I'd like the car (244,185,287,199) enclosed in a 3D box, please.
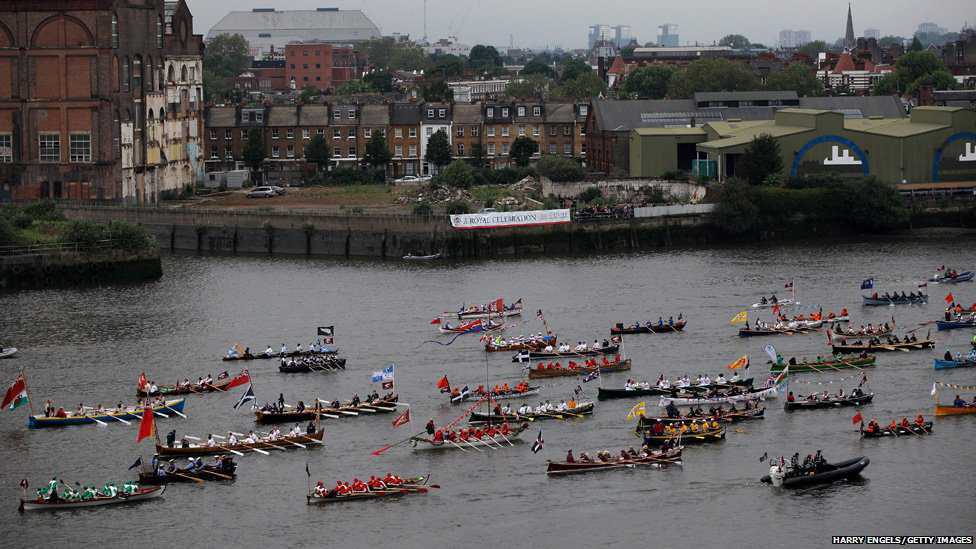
[{"bbox_3d":[-27.452,-10.028,266.786,2.892,1.225,4.953,2,8,33],"label":"car"}]

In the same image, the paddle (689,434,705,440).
[{"bbox_3d":[19.987,15.806,206.598,1.681,0.409,0.174,3,-3,-13],"label":"paddle"}]

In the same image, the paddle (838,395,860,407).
[{"bbox_3d":[35.394,12.648,210.551,1.235,0.460,1.181,-6,10,-18],"label":"paddle"}]

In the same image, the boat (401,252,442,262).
[{"bbox_3d":[-7.534,-1.723,245.712,4.597,0.865,1.465,-2,16,3],"label":"boat"}]
